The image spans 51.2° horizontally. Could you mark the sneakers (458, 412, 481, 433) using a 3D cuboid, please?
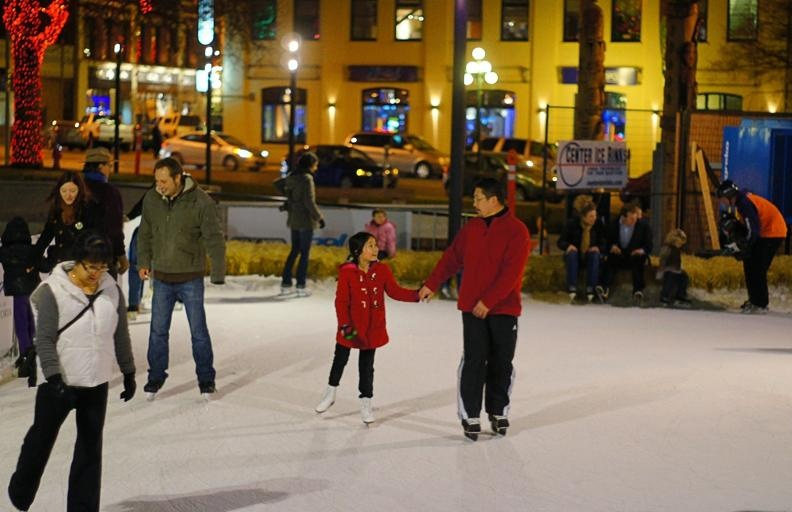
[{"bbox_3d":[0.740,1.684,8.241,0.213,0.223,0.191,1,9,4],"label":"sneakers"}]

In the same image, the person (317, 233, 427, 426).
[{"bbox_3d":[-0.365,0.712,8.641,0.945,1.944,0.703,-1,9,-12],"label":"person"}]

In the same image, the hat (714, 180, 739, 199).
[{"bbox_3d":[5.552,-1.108,13.849,0.376,0.424,0.330,7,8,14],"label":"hat"}]

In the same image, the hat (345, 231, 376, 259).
[{"bbox_3d":[-0.388,-0.117,8.552,0.235,0.280,0.348,-2,10,-13],"label":"hat"}]

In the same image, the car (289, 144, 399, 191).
[{"bbox_3d":[-2.067,-3.623,33.869,4.261,1.799,2.191,2,7,16],"label":"car"}]

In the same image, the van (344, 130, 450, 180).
[{"bbox_3d":[0.307,-4.460,36.193,3.707,1.717,2.153,5,10,15],"label":"van"}]

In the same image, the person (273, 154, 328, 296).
[{"bbox_3d":[-1.699,-0.570,14.567,0.761,2.502,1.247,-1,9,-9],"label":"person"}]

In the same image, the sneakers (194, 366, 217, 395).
[{"bbox_3d":[-2.113,1.400,9.141,0.126,0.414,0.175,-7,38,-3],"label":"sneakers"}]

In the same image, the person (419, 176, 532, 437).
[{"bbox_3d":[0.864,0.513,8.309,0.891,2.530,0.712,2,9,14],"label":"person"}]

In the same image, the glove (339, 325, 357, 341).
[{"bbox_3d":[-0.487,0.762,8.308,0.165,0.146,0.083,1,9,4],"label":"glove"}]

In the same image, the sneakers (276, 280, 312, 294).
[{"bbox_3d":[-1.806,0.566,14.572,0.588,0.291,0.209,-3,2,-5],"label":"sneakers"}]

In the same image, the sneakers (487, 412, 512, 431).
[{"bbox_3d":[1.058,1.678,8.366,0.138,0.206,0.197,0,-4,-16],"label":"sneakers"}]

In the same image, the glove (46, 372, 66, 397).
[{"bbox_3d":[-2.550,0.965,6.165,0.111,0.197,0.131,-29,-11,41],"label":"glove"}]
